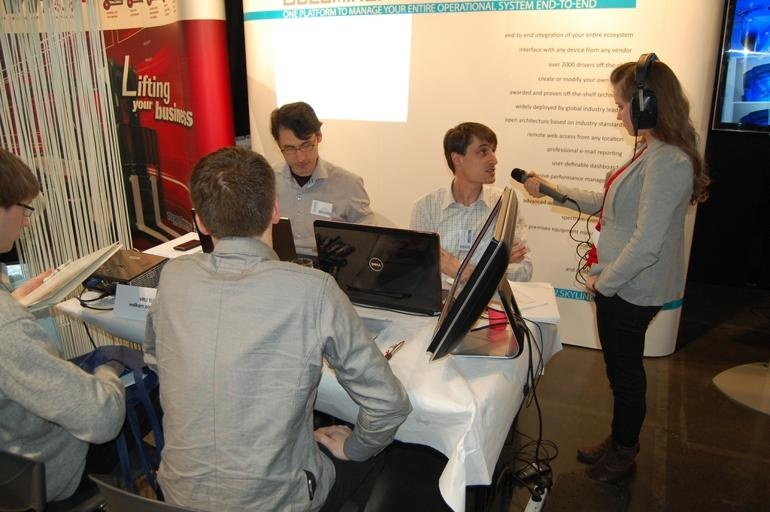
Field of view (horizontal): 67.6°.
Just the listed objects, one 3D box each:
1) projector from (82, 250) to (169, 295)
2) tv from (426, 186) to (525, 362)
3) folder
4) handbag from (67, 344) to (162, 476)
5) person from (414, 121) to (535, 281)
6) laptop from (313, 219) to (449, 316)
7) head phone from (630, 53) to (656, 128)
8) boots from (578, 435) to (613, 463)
[{"bbox_3d":[-1.378,0.093,3.041,0.185,0.089,0.178,-19,61,-15],"label":"projector"},{"bbox_3d":[0.456,0.106,2.831,0.414,0.739,0.790,6,13,15],"label":"tv"},{"bbox_3d":[-1.770,0.104,3.288,0.596,0.068,0.639,-19,21,28],"label":"folder"},{"bbox_3d":[-1.200,0.729,2.704,0.408,0.634,0.430,20,22,25],"label":"handbag"},{"bbox_3d":[0.538,-0.325,3.532,0.782,1.024,0.513,12,30,9],"label":"person"},{"bbox_3d":[-0.010,-0.016,2.865,0.671,0.471,0.468,7,27,19],"label":"laptop"},{"bbox_3d":[1.321,-0.832,2.930,0.140,0.394,0.339,1,10,30],"label":"head phone"},{"bbox_3d":[1.224,1.130,3.460,0.275,0.188,0.093,4,11,21],"label":"boots"}]
